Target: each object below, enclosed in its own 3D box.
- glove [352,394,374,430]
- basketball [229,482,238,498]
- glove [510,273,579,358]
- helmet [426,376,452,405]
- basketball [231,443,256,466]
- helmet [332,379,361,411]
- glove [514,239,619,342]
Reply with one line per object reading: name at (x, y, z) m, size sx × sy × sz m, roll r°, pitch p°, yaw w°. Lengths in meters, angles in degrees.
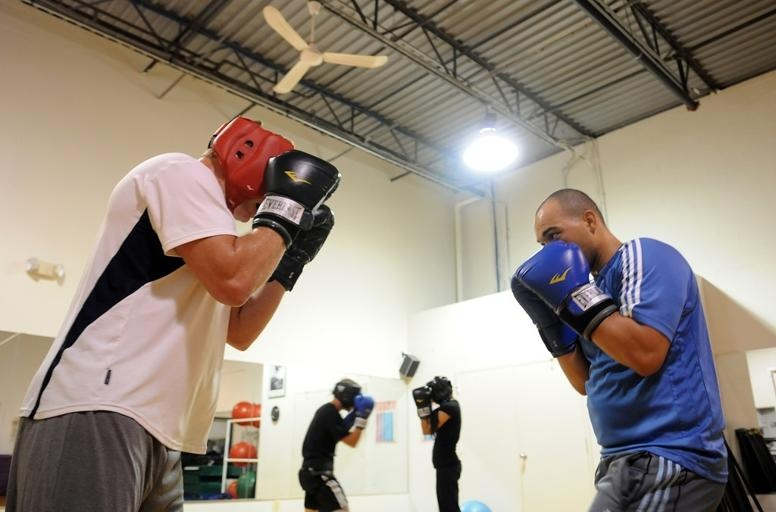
glove at (-0.303, 2.036, 7.068) m, size 0.175 × 0.401 × 0.294 m, roll 20°, pitch -5°, yaw -38°
basketball at (-1.891, 2.867, 6.613) m, size 0.123 × 0.123 × 0.145 m, roll 33°, pitch -20°, yaw -6°
glove at (0.794, 0.306, 2.779) m, size 0.179 × 0.443 × 0.340 m, roll -41°, pitch -1°, yaw 20°
helmet at (0.698, 1.724, 7.011) m, size 0.276 × 0.322 × 0.347 m, roll 5°, pitch 14°, yaw 22°
basketball at (-1.806, 2.492, 6.810) m, size 0.273 × 0.261 × 0.276 m, roll 13°, pitch -34°, yaw -32°
helmet at (-0.501, 1.725, 6.704) m, size 0.371 × 0.348 × 0.298 m, roll -9°, pitch -9°, yaw 0°
glove at (0.816, 0.162, 2.561) m, size 0.360 × 0.470 × 0.226 m, roll -36°, pitch -20°, yaw -1°
